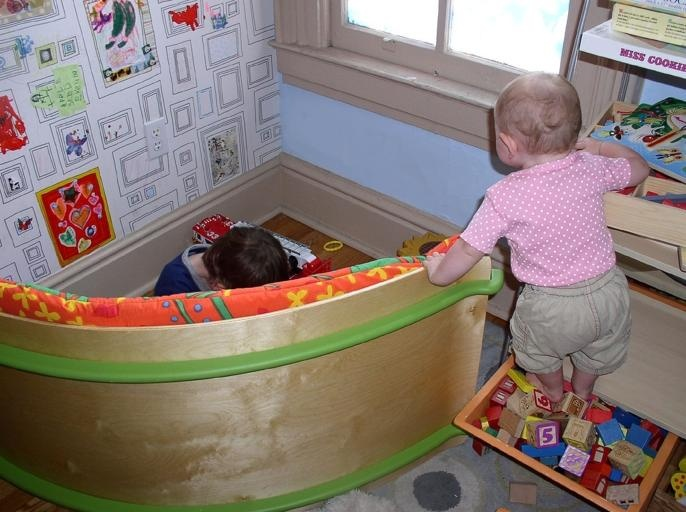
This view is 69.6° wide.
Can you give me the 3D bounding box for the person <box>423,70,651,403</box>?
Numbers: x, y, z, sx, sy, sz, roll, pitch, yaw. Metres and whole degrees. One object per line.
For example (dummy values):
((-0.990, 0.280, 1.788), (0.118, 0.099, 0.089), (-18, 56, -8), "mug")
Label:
((0.547, -0.029, 1.346), (0.652, 0.848, 0.247), (4, 30, 2), "person")
